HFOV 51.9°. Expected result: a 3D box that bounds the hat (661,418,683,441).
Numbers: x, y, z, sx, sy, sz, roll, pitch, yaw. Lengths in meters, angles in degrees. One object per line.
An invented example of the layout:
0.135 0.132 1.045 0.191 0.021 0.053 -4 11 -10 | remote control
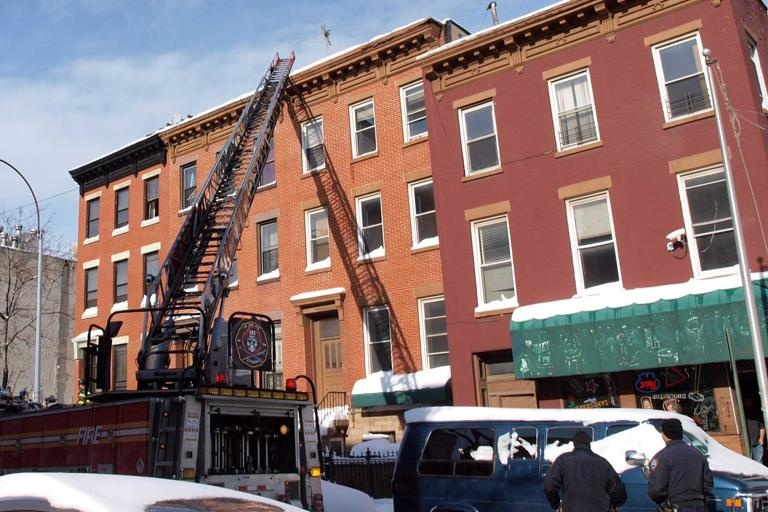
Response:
4.957 2.957 13.573 0.271 0.316 0.363 9 16 5 | hat
